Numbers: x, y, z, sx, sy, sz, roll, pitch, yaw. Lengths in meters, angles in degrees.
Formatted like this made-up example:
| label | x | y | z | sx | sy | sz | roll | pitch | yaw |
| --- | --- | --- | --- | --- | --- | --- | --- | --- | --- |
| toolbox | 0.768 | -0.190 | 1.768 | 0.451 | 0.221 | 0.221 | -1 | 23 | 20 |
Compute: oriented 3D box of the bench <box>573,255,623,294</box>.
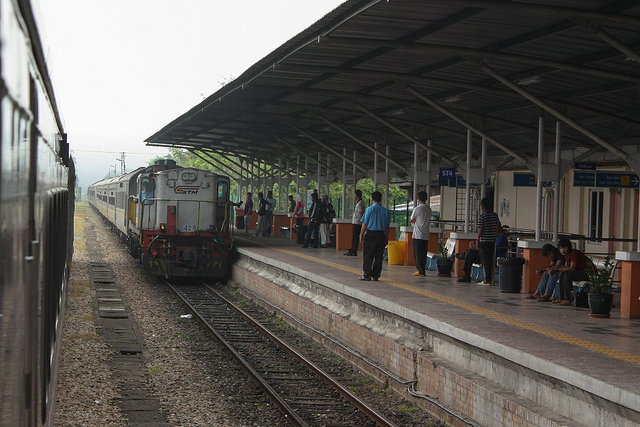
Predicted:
| label | x | y | z | sx | sy | sz | roll | pitch | yaw |
| --- | --- | --- | --- | --- | --- | --- | --- | --- | --- |
| bench | 5.636 | 1.233 | 10.706 | 0.516 | 0.512 | 1.163 | 1 | -4 | -9 |

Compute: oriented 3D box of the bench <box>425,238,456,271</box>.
| label | x | y | z | sx | sy | sz | roll | pitch | yaw |
| --- | --- | --- | --- | --- | --- | --- | --- | --- | --- |
| bench | 3.580 | 1.193 | 15.640 | 0.879 | 1.250 | 0.883 | 2 | 0 | -7 |

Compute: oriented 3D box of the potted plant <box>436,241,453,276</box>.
| label | x | y | z | sx | sy | sz | roll | pitch | yaw |
| --- | --- | --- | --- | --- | --- | --- | --- | --- | --- |
| potted plant | 3.506 | 1.220 | 14.808 | 0.525 | 1.073 | 0.548 | -6 | -12 | 44 |

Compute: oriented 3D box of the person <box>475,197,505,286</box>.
| label | x | y | z | sx | sy | sz | roll | pitch | yaw |
| --- | --- | --- | --- | --- | --- | --- | --- | --- | --- |
| person | 4.257 | 0.700 | 13.185 | 0.873 | 2.083 | 0.604 | 6 | -6 | -35 |

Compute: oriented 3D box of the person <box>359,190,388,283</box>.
| label | x | y | z | sx | sy | sz | roll | pitch | yaw |
| --- | --- | --- | --- | --- | --- | --- | --- | --- | --- |
| person | 1.373 | 0.575 | 13.246 | 0.650 | 2.220 | 0.702 | 3 | 2 | 7 |

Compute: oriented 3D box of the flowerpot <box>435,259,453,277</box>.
| label | x | y | z | sx | sy | sz | roll | pitch | yaw |
| --- | --- | --- | --- | --- | --- | --- | --- | --- | --- |
| flowerpot | 3.470 | 1.482 | 14.579 | 0.449 | 0.382 | 0.448 | -1 | 2 | -23 |

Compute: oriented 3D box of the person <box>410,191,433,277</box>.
| label | x | y | z | sx | sy | sz | roll | pitch | yaw |
| --- | --- | --- | --- | --- | --- | --- | --- | --- | --- |
| person | 2.775 | 0.527 | 14.514 | 0.514 | 2.324 | 0.975 | 3 | 2 | 10 |

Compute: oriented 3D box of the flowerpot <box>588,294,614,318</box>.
| label | x | y | z | sx | sy | sz | roll | pitch | yaw |
| --- | --- | --- | --- | --- | --- | --- | --- | --- | --- |
| flowerpot | 5.148 | 1.662 | 9.674 | 0.417 | 0.384 | 0.440 | 0 | -6 | 1 |

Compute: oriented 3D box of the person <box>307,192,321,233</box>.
| label | x | y | z | sx | sy | sz | roll | pitch | yaw |
| --- | --- | --- | --- | --- | --- | --- | --- | --- | --- |
| person | -0.211 | -0.061 | 21.907 | 0.504 | 1.668 | 1.054 | 3 | 2 | -1 |
